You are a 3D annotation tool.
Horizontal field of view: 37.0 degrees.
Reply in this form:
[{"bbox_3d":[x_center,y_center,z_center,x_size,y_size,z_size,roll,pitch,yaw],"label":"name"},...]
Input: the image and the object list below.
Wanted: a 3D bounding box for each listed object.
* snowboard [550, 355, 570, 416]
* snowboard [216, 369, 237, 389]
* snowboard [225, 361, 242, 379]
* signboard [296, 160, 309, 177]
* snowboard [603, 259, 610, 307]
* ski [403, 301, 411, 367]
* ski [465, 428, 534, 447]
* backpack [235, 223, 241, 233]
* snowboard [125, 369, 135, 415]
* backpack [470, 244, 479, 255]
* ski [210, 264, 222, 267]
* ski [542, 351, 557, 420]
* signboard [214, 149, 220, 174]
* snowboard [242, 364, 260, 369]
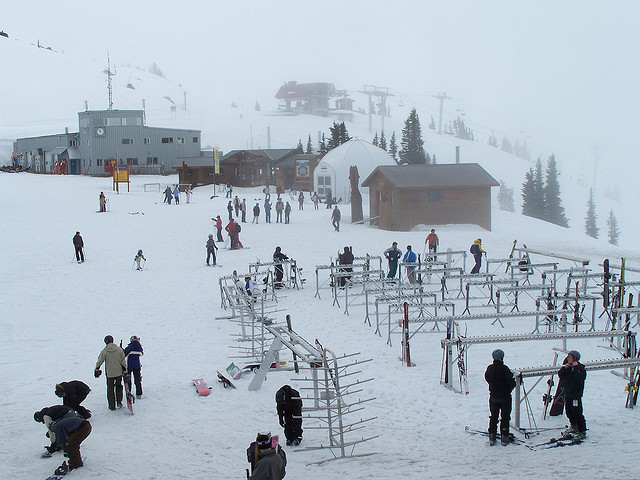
[{"bbox_3d":[8.172,5.096,32.417,0.445,2.186,0.284,1,7,-37],"label":"snowboard"},{"bbox_3d":[-3.430,5.217,35.210,0.548,0.152,0.482,19,-21,44],"label":"snowboard"},{"bbox_3d":[-3.196,4.924,35.718,0.583,0.429,0.224,46,11,7],"label":"snowboard"},{"bbox_3d":[-1.430,-6.276,84.563,1.144,1.459,1.272,0,7,15],"label":"signboard"},{"bbox_3d":[12.036,1.966,40.317,0.245,2.587,0.279,1,10,19],"label":"snowboard"},{"bbox_3d":[3.227,3.627,35.840,0.286,2.172,0.266,3,-3,-41],"label":"ski"},{"bbox_3d":[6.023,6.695,31.890,1.446,0.190,0.211,15,15,13],"label":"ski"},{"bbox_3d":[-4.509,-0.581,52.453,0.240,0.471,0.537,-1,5,-4],"label":"backpack"},{"bbox_3d":[-6.681,5.462,33.783,0.259,1.506,0.261,-2,-10,-24],"label":"snowboard"},{"bbox_3d":[7.399,0.525,46.116,0.434,0.504,0.254,-3,5,-28],"label":"backpack"},{"bbox_3d":[-5.310,1.363,49.092,0.633,0.107,0.098,18,4,2],"label":"ski"},{"bbox_3d":[7.999,5.267,33.467,0.096,2.048,0.273,13,-1,-23],"label":"ski"},{"bbox_3d":[-8.029,-6.111,74.333,0.286,1.760,1.017,-2,5,-12],"label":"signboard"},{"bbox_3d":[-2.559,4.868,36.161,0.736,0.135,0.224,0,-24,-3],"label":"snowboard"}]
